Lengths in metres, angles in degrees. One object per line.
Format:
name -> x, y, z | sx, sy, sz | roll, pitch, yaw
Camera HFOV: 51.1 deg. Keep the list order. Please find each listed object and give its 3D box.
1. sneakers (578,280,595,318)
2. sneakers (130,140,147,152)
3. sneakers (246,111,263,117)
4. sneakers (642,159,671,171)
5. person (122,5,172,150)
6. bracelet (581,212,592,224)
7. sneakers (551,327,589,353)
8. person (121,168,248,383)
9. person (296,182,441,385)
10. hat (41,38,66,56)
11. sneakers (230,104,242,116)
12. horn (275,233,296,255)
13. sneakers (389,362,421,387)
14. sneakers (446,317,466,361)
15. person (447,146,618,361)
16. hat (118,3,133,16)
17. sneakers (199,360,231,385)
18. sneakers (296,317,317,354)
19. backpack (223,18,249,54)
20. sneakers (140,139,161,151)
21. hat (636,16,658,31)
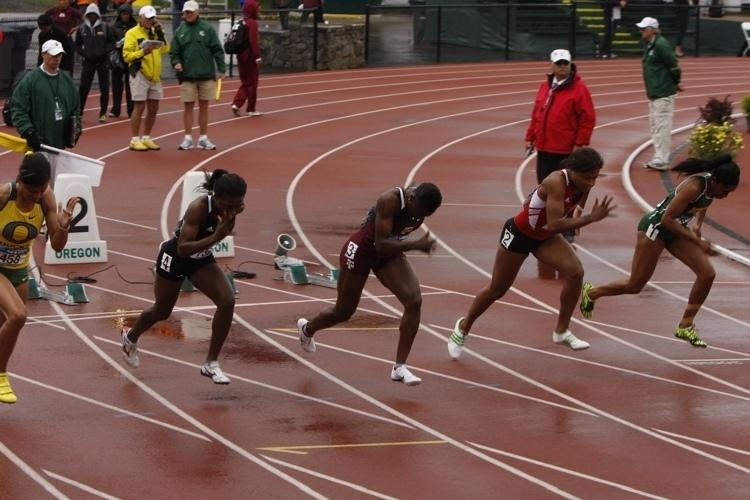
sneakers -> 2.392, 0.563, 8.813 | 0.171, 0.410, 0.187 | -9, 16, -27
sneakers -> -4.699, -2.080, 15.623 | 0.160, 0.149, 0.365 | -15, 15, -42
sneakers -> -2.913, -3.322, 19.102 | 0.313, 0.123, 0.113 | -6, 57, -18
sneakers -> 5.562, -1.662, 15.455 | 0.511, 0.201, 0.175 | 6, 6, -1
person -> -4.473, -3.335, 15.366 | 0.780, 2.782, 1.066 | -3, 14, -11
bracelet -> 2.008, -0.290, 7.472 | 0.082, 0.091, 0.175 | 3, 14, 13
sneakers -> 2.081, 0.943, 8.396 | 0.464, 0.179, 0.169 | 10, 24, 32
person -> -1.711, 0.280, 7.357 | 1.199, 2.041, 0.512 | 6, 15, 23
person -> 0.069, 0.338, 7.528 | 1.353, 2.026, 0.464 | 9, 17, 32
hat -> -4.179, -2.615, 10.201 | 0.220, 0.190, 0.309 | -7, 15, -27
sneakers -> -3.281, -3.254, 18.637 | 0.169, 0.428, 0.180 | -3, 56, 0
horn -> -1.186, -0.061, 10.336 | 0.224, 0.288, 0.284 | -3, 14, -10
sneakers -> 0.294, 1.196, 7.661 | 0.373, 0.150, 0.143 | 4, 7, 44
sneakers -> 0.853, 0.930, 8.291 | 0.168, 0.444, 0.205 | 10, 4, -29
person -> 1.627, 0.046, 7.956 | 1.351, 2.149, 0.631 | 4, 15, 16
hat -> -5.544, -5.302, 17.395 | 0.313, 0.373, 0.294 | -6, 10, -6
sneakers -> -1.474, 1.157, 7.422 | 0.142, 0.165, 0.388 | -31, 35, -35
sneakers -> -0.688, 0.883, 8.056 | 0.194, 0.386, 0.142 | -2, 16, 31
backpack -> -3.196, -4.896, 18.123 | 0.590, 0.791, 0.389 | 2, 14, 8
sneakers -> -4.504, -2.130, 15.811 | 0.448, 0.161, 0.159 | 14, 36, 26
hat -> 5.057, -4.178, 14.507 | 0.304, 0.193, 0.360 | 5, 14, 19
